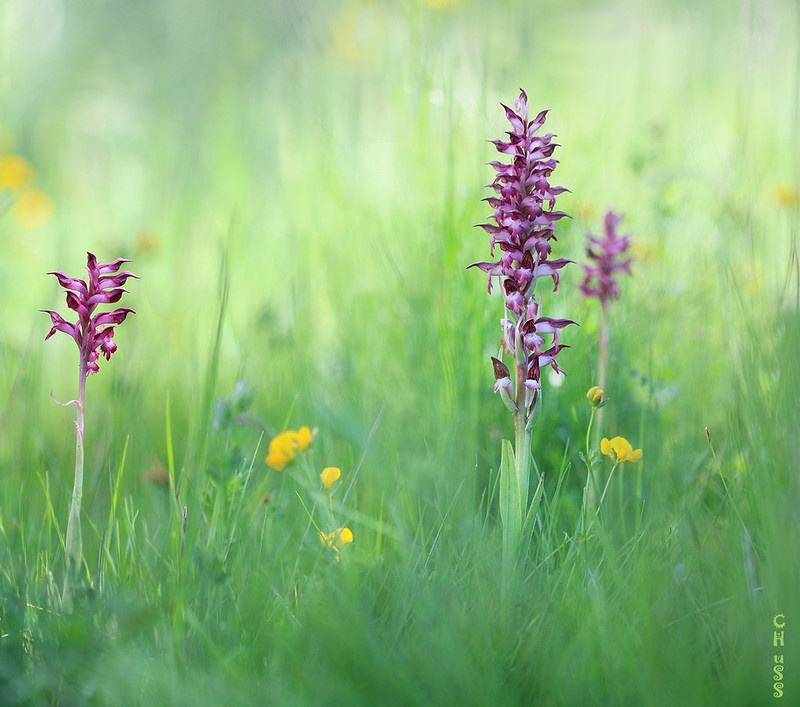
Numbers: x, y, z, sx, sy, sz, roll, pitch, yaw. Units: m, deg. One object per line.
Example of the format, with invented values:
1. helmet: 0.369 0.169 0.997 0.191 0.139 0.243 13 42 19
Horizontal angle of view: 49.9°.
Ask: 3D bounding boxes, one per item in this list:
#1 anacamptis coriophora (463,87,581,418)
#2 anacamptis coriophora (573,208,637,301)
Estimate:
1. anacamptis coriophora: 0.190 -0.163 1.354 0.150 0.469 0.184 -4 16 -9
2. anacamptis coriophora: 0.435 -0.215 1.835 0.135 0.196 0.110 15 24 42
